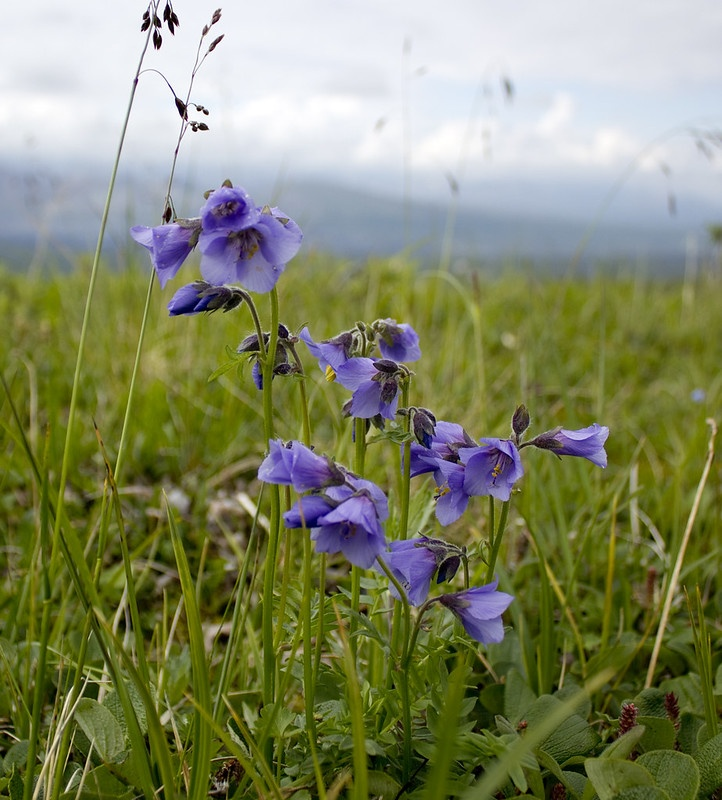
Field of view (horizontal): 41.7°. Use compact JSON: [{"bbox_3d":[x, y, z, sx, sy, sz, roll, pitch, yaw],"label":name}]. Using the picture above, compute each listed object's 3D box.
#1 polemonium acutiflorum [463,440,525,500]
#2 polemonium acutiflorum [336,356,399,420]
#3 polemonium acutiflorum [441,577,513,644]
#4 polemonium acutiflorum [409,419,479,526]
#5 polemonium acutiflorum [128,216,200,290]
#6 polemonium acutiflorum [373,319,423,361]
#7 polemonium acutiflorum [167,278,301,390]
[{"bbox_3d":[0.293,0.159,2.152,0.140,0.163,0.115,3,13,9],"label":"polemonium acutiflorum"},{"bbox_3d":[0.018,-0.035,2.273,0.118,0.160,0.104,11,-8,16],"label":"polemonium acutiflorum"},{"bbox_3d":[0.255,0.476,2.140,0.138,0.159,0.128,17,-16,1],"label":"polemonium acutiflorum"},{"bbox_3d":[0.191,0.180,2.282,0.149,0.228,0.145,4,13,14],"label":"polemonium acutiflorum"},{"bbox_3d":[-0.446,-0.362,2.214,0.151,0.102,0.171,-17,6,24],"label":"polemonium acutiflorum"},{"bbox_3d":[0.092,-0.158,2.526,0.119,0.128,0.233,1,15,1],"label":"polemonium acutiflorum"},{"bbox_3d":[-0.293,-0.140,2.207,0.303,0.273,0.227,-3,13,-16],"label":"polemonium acutiflorum"}]
